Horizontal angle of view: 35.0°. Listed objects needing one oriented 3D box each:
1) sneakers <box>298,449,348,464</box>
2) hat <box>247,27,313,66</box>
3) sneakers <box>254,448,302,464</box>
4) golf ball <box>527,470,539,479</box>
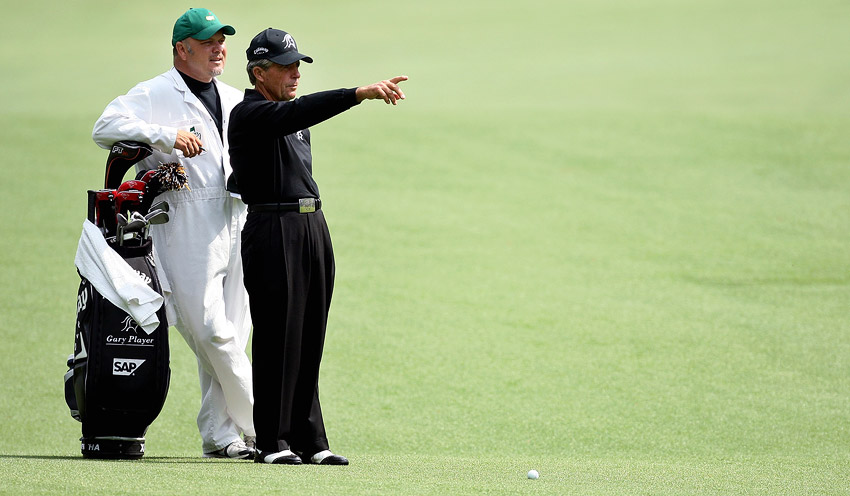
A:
[{"bbox_3d":[-1.044,2.164,14.037,0.528,0.150,0.168,0,-4,2],"label":"sneakers"},{"bbox_3d":[-1.478,-2.119,14.025,0.756,0.317,0.446,14,23,30],"label":"hat"},{"bbox_3d":[-1.509,2.145,13.932,0.435,0.103,0.162,-1,-3,6],"label":"sneakers"},{"bbox_3d":[1.109,2.310,13.792,0.088,0.040,0.084,8,19,-3],"label":"golf ball"}]
